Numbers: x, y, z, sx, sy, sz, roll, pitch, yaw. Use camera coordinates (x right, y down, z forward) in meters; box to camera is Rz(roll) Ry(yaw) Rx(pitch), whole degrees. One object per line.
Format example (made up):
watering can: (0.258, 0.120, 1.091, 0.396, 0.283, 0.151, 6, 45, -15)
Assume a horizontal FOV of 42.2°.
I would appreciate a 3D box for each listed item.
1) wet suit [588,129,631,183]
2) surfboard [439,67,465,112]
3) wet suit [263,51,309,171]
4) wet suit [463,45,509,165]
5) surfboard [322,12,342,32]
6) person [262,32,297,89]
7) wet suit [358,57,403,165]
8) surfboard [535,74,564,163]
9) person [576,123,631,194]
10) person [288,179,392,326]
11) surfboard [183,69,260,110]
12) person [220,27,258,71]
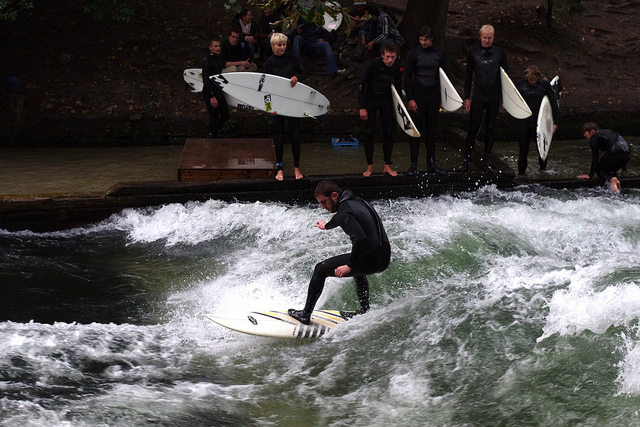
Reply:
wet suit: (5.765, -1.052, 16.622, 0.957, 1.283, 0.922, -1, 1, 36)
surfboard: (2.481, -2.356, 15.939, 0.438, 1.469, 0.281, 31, 73, 28)
wet suit: (-0.617, -1.973, 16.090, 0.818, 2.288, 0.695, -4, 16, -3)
wet suit: (3.224, -2.074, 16.196, 0.854, 2.367, 0.450, -3, 16, 0)
surfboard: (0.346, -5.134, 22.334, 0.427, 0.491, 0.876, 4, 17, 24)
person: (-0.775, -2.870, 15.772, 0.648, 1.068, 0.619, -4, 16, -4)
wet suit: (1.165, -1.949, 15.816, 0.809, 2.015, 0.421, -2, 16, 4)
surfboard: (4.805, -1.911, 17.431, 0.204, 0.709, 2.573, -1, 40, 31)
person: (5.612, -1.068, 16.355, 0.906, 1.362, 0.491, 2, 17, 17)
person: (0.353, 0.642, 12.746, 1.380, 2.260, 0.486, 0, 16, 10)
surfboard: (-2.014, -2.574, 17.259, 0.495, 0.524, 2.007, -8, 34, -28)
person: (-1.841, -3.467, 18.060, 0.828, 1.005, 0.761, -12, 25, -28)
